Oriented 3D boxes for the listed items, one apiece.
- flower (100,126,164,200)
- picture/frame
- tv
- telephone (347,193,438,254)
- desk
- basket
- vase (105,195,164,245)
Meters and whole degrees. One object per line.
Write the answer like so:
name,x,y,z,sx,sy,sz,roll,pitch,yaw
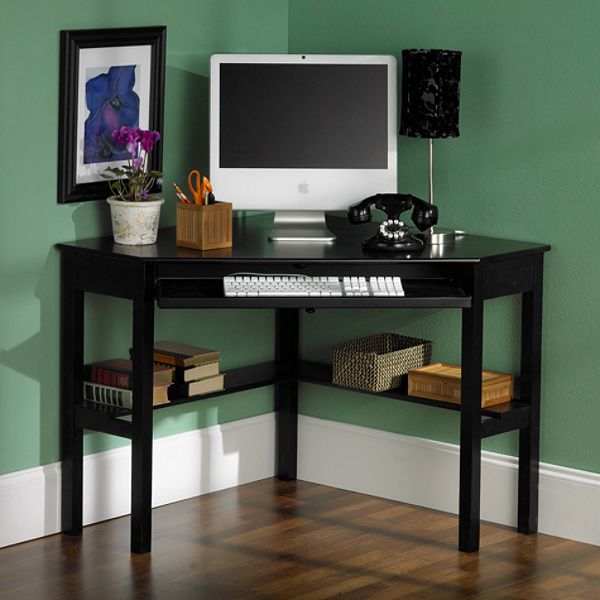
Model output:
flower,-0.471,-0.385,1.965,0.181,0.214,0.190,-5,16,-31
picture/frame,-0.571,-0.555,1.993,0.024,0.567,0.506,11,16,35
tv,0.008,-0.475,2.113,0.582,0.573,0.176,0,0,1
telephone,0.273,-0.226,1.983,0.250,0.164,0.178,0,7,2
desk,0.124,0.252,2.122,1.095,0.782,0.642,1,2,36
basket,0.245,0.201,2.211,0.209,0.128,0.216,3,9,40
vase,-0.472,-0.229,1.897,0.138,0.104,0.141,0,10,-2
